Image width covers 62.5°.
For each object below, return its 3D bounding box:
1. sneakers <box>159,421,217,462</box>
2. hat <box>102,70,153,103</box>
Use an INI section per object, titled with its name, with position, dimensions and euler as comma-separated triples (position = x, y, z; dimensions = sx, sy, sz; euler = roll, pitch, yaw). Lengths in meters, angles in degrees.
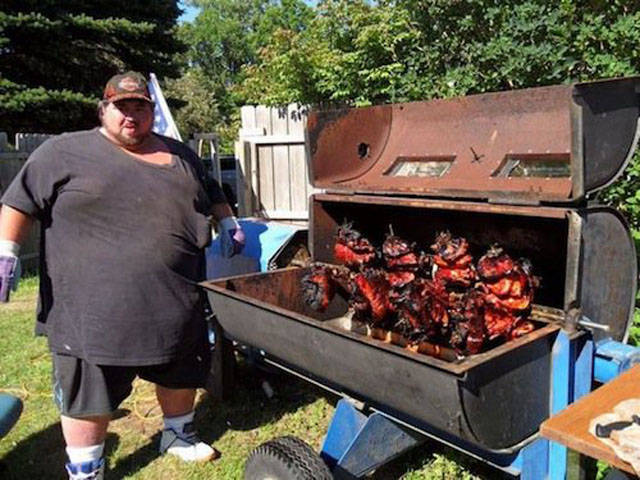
[sneakers]
position = -0.995, 1.516, 4.042
dimensions = 0.508, 0.234, 0.192
euler = 2, 4, 29
[hat]
position = -1.331, -1.035, 3.656
dimensions = 0.221, 0.163, 0.296
euler = 1, 3, -18
